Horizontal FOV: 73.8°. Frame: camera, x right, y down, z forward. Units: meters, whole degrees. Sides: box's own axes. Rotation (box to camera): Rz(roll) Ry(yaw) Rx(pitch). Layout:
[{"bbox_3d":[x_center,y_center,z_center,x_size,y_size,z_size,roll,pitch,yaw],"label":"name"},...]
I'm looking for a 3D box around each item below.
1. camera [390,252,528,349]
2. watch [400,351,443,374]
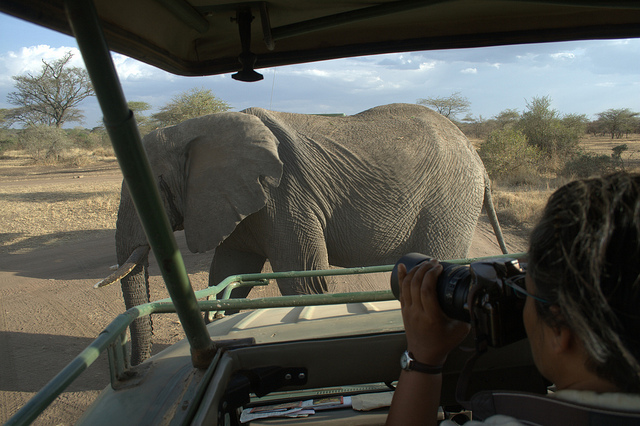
[{"bbox_3d":[0.398,0.220,1.226,0.281,0.200,0.441,-14,9,-40],"label":"camera"},{"bbox_3d":[0.274,0.417,1.165,0.091,0.056,0.085,7,-21,-21],"label":"watch"}]
